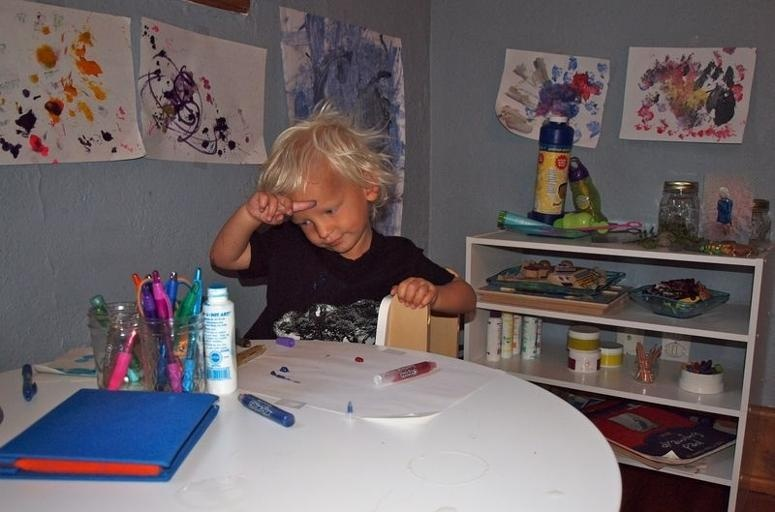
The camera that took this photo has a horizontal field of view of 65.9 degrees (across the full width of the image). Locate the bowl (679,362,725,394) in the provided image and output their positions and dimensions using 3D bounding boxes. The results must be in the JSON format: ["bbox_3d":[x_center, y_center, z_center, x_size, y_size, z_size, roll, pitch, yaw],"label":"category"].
[{"bbox_3d":[1.019,0.387,1.948,0.137,0.081,0.136,-5,9,1],"label":"bowl"}]

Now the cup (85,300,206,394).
[{"bbox_3d":[-0.472,0.183,1.189,0.168,0.137,0.186,4,7,19],"label":"cup"}]

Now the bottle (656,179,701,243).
[{"bbox_3d":[0.961,-0.158,1.975,0.119,0.172,0.156,2,3,27],"label":"bottle"}]

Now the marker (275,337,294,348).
[{"bbox_3d":[-0.247,0.204,1.424,0.043,0.020,0.020,0,4,33],"label":"marker"}]

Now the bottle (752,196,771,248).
[{"bbox_3d":[1.243,-0.112,1.985,0.112,0.145,0.034,-3,4,-39],"label":"bottle"}]

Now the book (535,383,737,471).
[{"bbox_3d":[0.885,0.586,2.037,0.386,0.094,0.394,-4,10,-41],"label":"book"}]

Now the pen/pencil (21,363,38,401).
[{"bbox_3d":[-0.720,0.257,1.210,0.029,0.022,0.107,-8,31,-21],"label":"pen/pencil"}]

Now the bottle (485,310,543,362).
[{"bbox_3d":[0.456,0.275,2.221,0.173,0.237,0.194,-3,4,-45],"label":"bottle"}]

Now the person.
[{"bbox_3d":[-0.152,-0.112,1.814,0.674,0.845,0.453,18,33,10],"label":"person"}]

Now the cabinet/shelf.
[{"bbox_3d":[0.717,0.331,1.778,0.752,0.721,0.294,14,30,27],"label":"cabinet/shelf"}]
